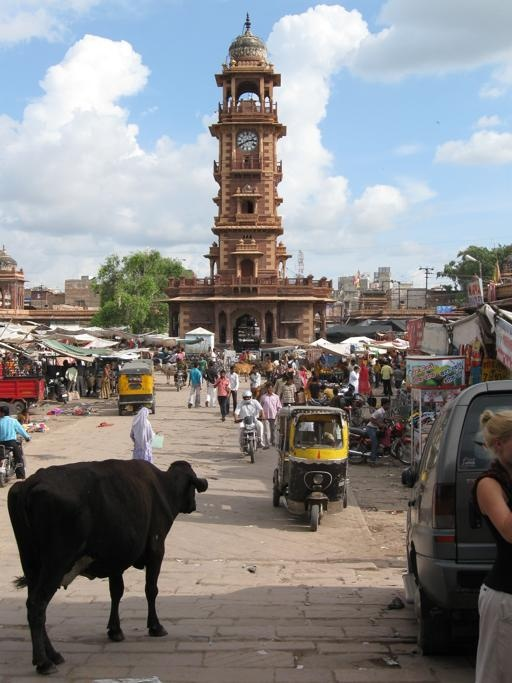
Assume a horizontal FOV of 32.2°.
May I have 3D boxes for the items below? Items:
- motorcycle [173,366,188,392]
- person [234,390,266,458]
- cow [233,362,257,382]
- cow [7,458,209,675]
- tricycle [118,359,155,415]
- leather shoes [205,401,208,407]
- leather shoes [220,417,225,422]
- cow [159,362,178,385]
[{"bbox_3d":[-3.062,1.466,35.503,0.481,0.539,1.001,-1,-2,1],"label":"motorcycle"},{"bbox_3d":[-0.130,1.517,16.508,0.481,0.941,1.414,0,-1,6],"label":"person"},{"bbox_3d":[-0.540,1.354,41.144,0.551,1.029,1.949,2,4,21],"label":"cow"},{"bbox_3d":[-1.012,1.410,5.905,0.699,1.227,1.552,1,3,28],"label":"cow"},{"bbox_3d":[-3.280,1.311,24.102,0.947,1.390,0.783,-1,3,-10],"label":"tricycle"},{"bbox_3d":[-1.528,1.922,27.365,0.106,0.160,0.263,-1,2,-3],"label":"leather shoes"},{"bbox_3d":[-0.868,2.006,22.892,0.117,0.143,0.085,1,-4,-4],"label":"leather shoes"},{"bbox_3d":[-3.945,1.406,39.670,0.888,0.828,1.434,0,-3,-3],"label":"cow"}]
